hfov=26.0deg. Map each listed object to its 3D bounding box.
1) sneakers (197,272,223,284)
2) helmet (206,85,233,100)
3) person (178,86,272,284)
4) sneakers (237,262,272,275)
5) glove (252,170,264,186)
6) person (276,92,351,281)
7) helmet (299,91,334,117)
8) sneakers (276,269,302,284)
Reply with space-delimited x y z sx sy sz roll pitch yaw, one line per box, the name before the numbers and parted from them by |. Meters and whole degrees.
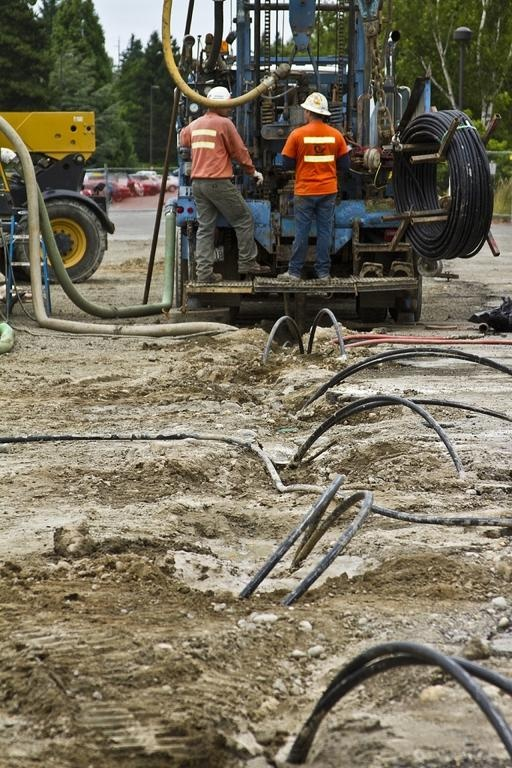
sneakers | -0.381 -0.874 9.228 0.216 0.092 0.092 -3 9 -8
helmet | -0.306 -2.352 9.094 0.221 0.115 0.319 2 20 5
person | -0.304 -1.571 9.296 0.637 1.417 0.711 -5 10 -30
sneakers | -0.004 -0.969 9.363 0.299 0.130 0.101 -2 12 -11
glove | 0.018 -1.727 9.308 0.039 0.123 0.093 -23 13 1
person | 0.472 -1.578 8.981 0.462 1.479 0.518 5 10 27
helmet | 0.481 -2.194 8.748 0.211 0.130 0.234 20 4 -15
sneakers | 0.267 -0.857 8.991 0.251 0.106 0.083 6 -5 -18
